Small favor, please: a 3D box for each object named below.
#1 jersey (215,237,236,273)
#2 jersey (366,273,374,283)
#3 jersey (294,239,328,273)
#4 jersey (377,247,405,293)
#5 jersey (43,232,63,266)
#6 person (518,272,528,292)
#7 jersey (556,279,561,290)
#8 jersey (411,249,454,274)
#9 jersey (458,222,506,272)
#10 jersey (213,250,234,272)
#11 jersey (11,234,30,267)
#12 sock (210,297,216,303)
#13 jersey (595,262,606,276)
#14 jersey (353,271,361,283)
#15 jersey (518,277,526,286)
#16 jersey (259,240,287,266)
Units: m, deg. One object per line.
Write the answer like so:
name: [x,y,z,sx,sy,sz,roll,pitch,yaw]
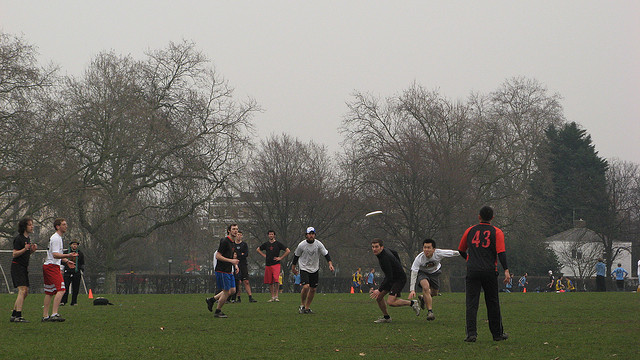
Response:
jersey: [-5.719,4.537,54.180,1.066,2.078,1.139,-1,9,-5]
jersey: [4.624,8.882,80.579,0.407,1.012,0.944,1,8,5]
jersey: [-0.575,4.754,55.753,1.740,1.994,0.871,1,9,5]
jersey: [4.505,5.264,53.371,1.282,2.874,1.206,0,-1,28]
jersey: [-15.823,4.098,53.133,1.020,1.949,1.014,-3,9,-18]
person: [19.704,9.961,85.962,0.813,0.642,2.033,6,-38,10]
jersey: [22.097,9.742,82.192,0.410,1.259,2.421,2,8,15]
jersey: [6.828,5.083,54.299,2.439,1.418,1.453,-2,-40,15]
jersey: [9.152,3.802,49.921,2.271,2.711,0.806,1,9,4]
jersey: [-6.802,5.431,58.586,1.651,1.521,1.646,-2,-3,26]
jersey: [-17.682,4.234,52.826,1.001,1.937,0.550,-3,9,-17]
sock: [-6.605,7.447,55.211,0.304,0.431,0.901,-1,8,-6]
jersey: [24.503,7.748,77.427,0.620,1.114,1.020,2,9,11]
jersey: [3.550,9.052,82.613,0.979,1.161,0.716,-1,-5,38]
jersey: [19.097,9.611,83.937,0.467,0.839,0.479,3,9,17]
jersey: [-3.190,5.018,60.921,2.135,1.806,0.759,-2,-6,18]
